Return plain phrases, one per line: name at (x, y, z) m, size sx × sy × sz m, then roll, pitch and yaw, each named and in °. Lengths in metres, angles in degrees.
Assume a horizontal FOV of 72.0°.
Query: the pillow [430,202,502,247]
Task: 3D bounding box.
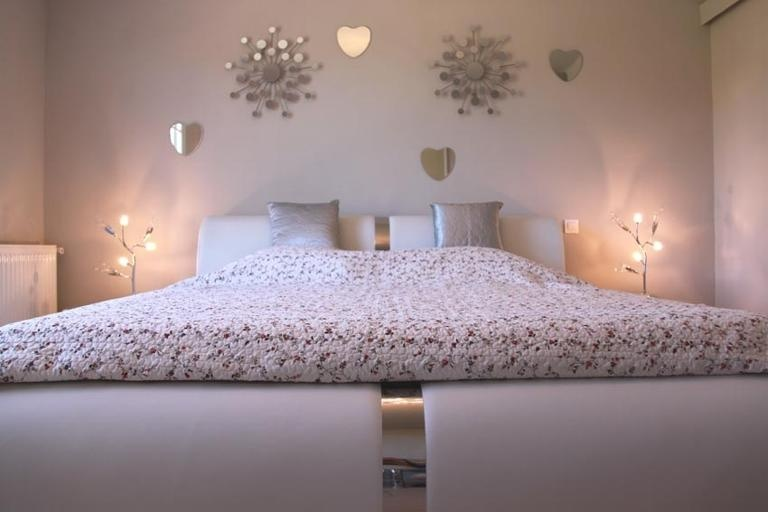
pillow at (0.576, -0.220, 3.748) m, size 0.307 × 0.217 × 0.113 m, roll -1°, pitch -11°, yaw 3°
